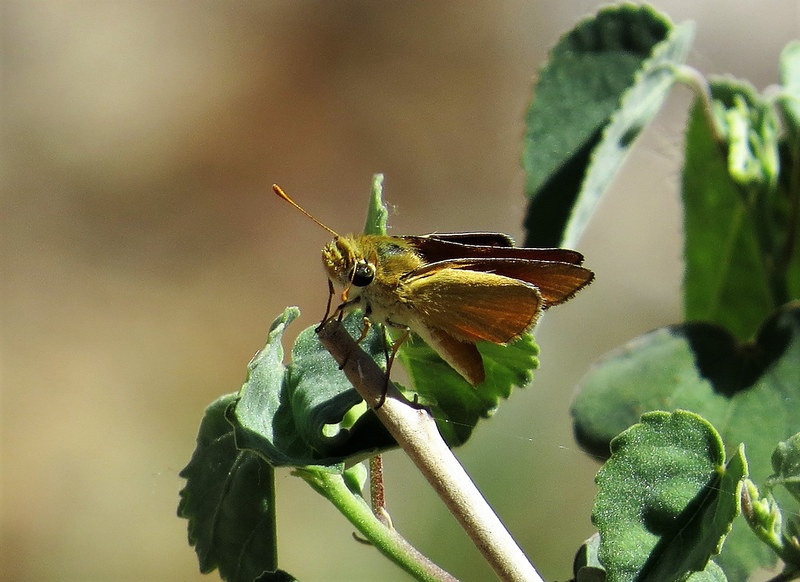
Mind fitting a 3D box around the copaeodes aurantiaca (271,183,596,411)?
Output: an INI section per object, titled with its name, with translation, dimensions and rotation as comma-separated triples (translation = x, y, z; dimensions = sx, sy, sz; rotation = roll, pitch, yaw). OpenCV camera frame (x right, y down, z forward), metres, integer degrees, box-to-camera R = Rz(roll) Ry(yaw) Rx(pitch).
[copaeodes aurantiaca]
translation = 0.042, -0.001, 1.703
dimensions = 0.413, 0.288, 0.254
rotation = 16, -90, -6
